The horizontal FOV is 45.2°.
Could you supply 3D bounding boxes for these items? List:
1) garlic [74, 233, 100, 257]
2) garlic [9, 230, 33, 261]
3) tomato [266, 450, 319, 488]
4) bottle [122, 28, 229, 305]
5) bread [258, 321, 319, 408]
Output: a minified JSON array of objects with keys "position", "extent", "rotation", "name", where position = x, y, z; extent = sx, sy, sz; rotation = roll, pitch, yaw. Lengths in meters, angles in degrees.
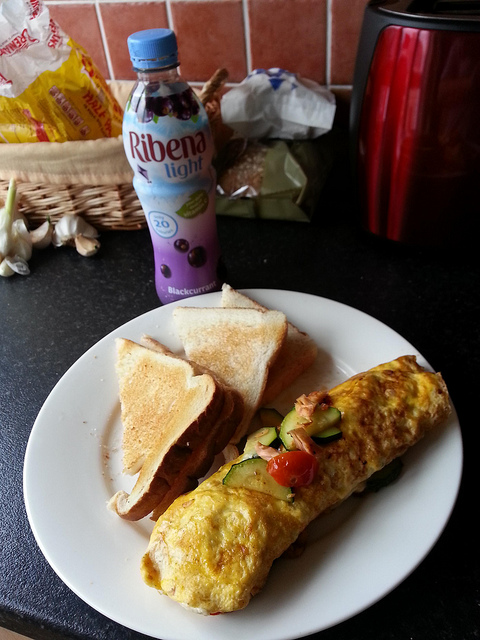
[{"position":[-0.395,-0.195,1.482],"extent":[0.052,0.039,0.066],"rotation":[-32,56,-14],"name":"garlic"},{"position":[-0.558,-0.182,1.468],"extent":[0.031,0.075,0.070],"rotation":[4,56,12],"name":"garlic"},{"position":[0.069,0.193,0.743],"extent":[0.063,0.042,0.083],"rotation":[1,17,-1],"name":"tomato"},{"position":[-0.127,-0.279,1.152],"extent":[0.181,0.538,0.179],"rotation":[-3,39,3],"name":"bottle"},{"position":[0.086,0.088,1.087],"extent":[0.126,0.030,0.126],"rotation":[-37,31,-16],"name":"bread"}]
